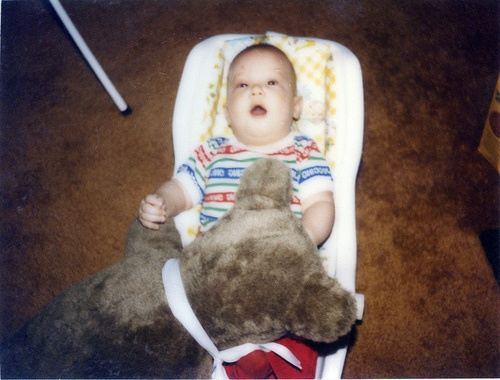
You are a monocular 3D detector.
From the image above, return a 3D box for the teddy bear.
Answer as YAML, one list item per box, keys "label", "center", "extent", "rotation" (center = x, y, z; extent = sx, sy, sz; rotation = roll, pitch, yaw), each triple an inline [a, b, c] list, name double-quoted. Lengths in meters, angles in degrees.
- label: "teddy bear"
  center: [-0.187, 0.215, 1.659]
  extent: [0.939, 0.596, 0.245]
  rotation: [1, 4, 11]
